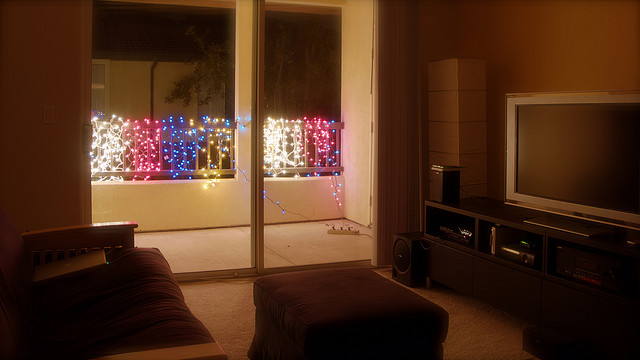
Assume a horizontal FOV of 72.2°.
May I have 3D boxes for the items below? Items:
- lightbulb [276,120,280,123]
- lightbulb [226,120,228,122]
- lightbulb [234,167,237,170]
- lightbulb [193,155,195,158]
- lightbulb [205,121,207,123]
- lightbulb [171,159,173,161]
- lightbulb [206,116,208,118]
[{"bbox_3d":[-0.638,-0.897,6.671,0.032,0.034,0.032,1,4,16],"label":"lightbulb"},{"bbox_3d":[-1.390,-0.898,6.609,0.029,0.026,0.015,0,-3,-6],"label":"lightbulb"},{"bbox_3d":[-1.275,-0.177,6.669,0.032,0.029,0.017,0,7,-3],"label":"lightbulb"},{"bbox_3d":[-1.882,-0.362,6.582,0.019,0.028,0.009,-3,14,-15],"label":"lightbulb"},{"bbox_3d":[-1.689,-0.873,6.515,0.031,0.028,0.030,0,3,-2],"label":"lightbulb"},{"bbox_3d":[-2.179,-0.303,6.491,0.033,0.030,0.018,2,8,8],"label":"lightbulb"},{"bbox_3d":[-1.671,-0.942,6.511,0.028,0.025,0.014,0,-3,-9],"label":"lightbulb"}]
